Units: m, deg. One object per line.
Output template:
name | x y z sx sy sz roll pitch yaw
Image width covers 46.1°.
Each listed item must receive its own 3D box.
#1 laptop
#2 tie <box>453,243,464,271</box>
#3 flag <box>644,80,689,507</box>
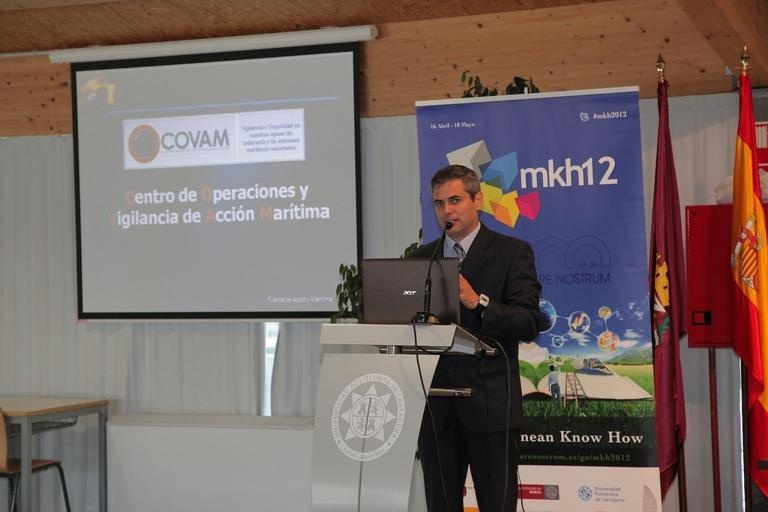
laptop | 0.255 0.294 5.779 0.644 0.473 0.504 -3 -16 33
tie | 0.486 0.009 5.977 0.036 0.169 0.085 3 -12 -44
flag | 2.250 0.269 7.183 0.264 3.339 0.355 -3 -7 30
